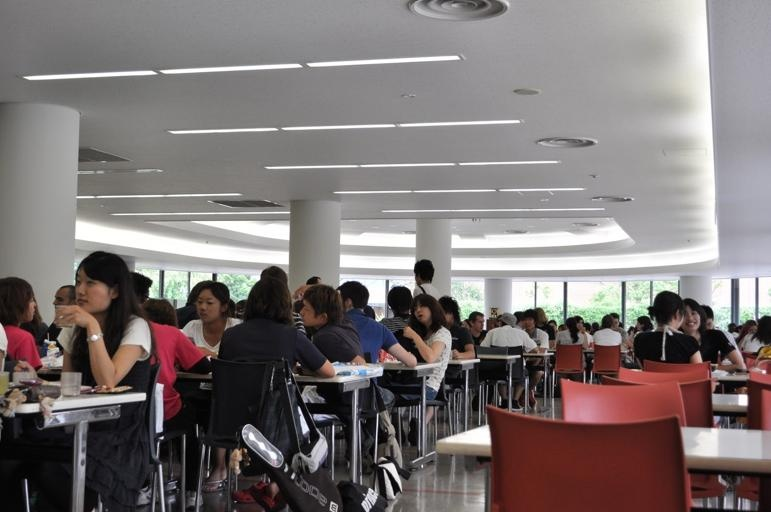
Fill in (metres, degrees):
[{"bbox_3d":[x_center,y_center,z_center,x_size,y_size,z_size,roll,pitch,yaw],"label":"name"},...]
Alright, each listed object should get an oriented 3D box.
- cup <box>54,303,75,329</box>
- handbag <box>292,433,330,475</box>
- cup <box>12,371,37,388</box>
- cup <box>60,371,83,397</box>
[{"bbox_3d":[-1.713,0.316,3.102,0.077,0.105,0.168,5,-7,-28],"label":"cup"},{"bbox_3d":[-0.351,0.902,2.689,0.122,0.059,0.168,-25,-1,6],"label":"handbag"},{"bbox_3d":[-1.861,0.630,3.004,0.113,0.065,0.110,1,-9,0],"label":"cup"},{"bbox_3d":[-1.529,0.617,2.823,0.109,0.115,0.109,0,-14,0],"label":"cup"}]
